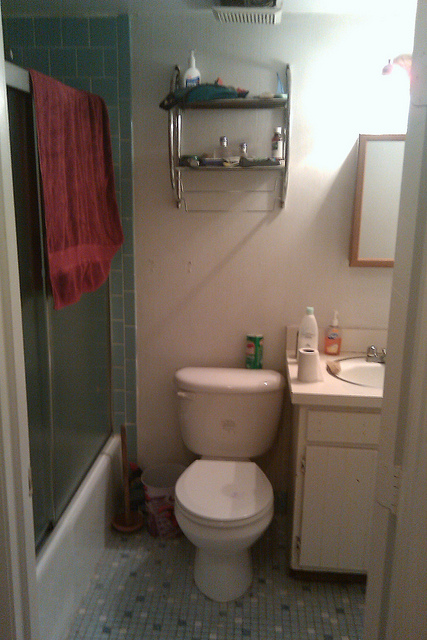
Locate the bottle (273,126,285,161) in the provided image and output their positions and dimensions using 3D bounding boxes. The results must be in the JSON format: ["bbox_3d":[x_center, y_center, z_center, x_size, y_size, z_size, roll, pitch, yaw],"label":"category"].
[{"bbox_3d":[0.244,-0.660,1.942,0.042,0.121,0.103,1,12,8],"label":"bottle"}]

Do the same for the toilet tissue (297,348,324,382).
[{"bbox_3d":[0.315,0.155,1.743,0.062,0.127,0.119,0,8,7],"label":"toilet tissue"}]

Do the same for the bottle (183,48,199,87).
[{"bbox_3d":[-0.083,-0.919,1.892,0.057,0.162,0.195,-1,12,-4],"label":"bottle"}]

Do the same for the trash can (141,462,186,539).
[{"bbox_3d":[-0.196,0.763,2.179,0.188,0.255,0.230,2,17,5],"label":"trash can"}]

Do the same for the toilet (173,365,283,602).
[{"bbox_3d":[0.033,0.574,1.935,0.425,0.644,0.692,2,12,8],"label":"toilet"}]

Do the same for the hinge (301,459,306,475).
[{"bbox_3d":[0.292,0.479,1.700,0.012,0.049,0.004,3,11,15],"label":"hinge"}]

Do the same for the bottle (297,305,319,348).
[{"bbox_3d":[0.356,0.031,1.962,0.074,0.150,0.063,2,11,11],"label":"bottle"}]
